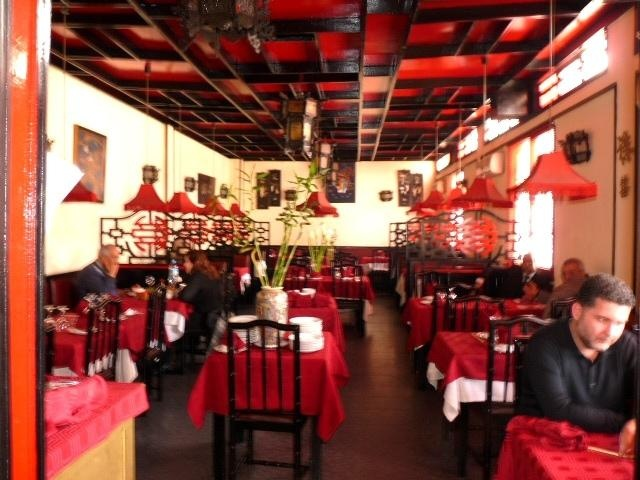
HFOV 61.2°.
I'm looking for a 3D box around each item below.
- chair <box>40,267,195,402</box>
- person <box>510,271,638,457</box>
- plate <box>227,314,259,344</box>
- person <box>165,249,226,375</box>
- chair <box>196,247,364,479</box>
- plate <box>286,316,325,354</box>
[{"bbox_3d":[-1.532,0.872,4.278,0.772,1.015,1.485,0,5,-5],"label":"chair"},{"bbox_3d":[1.175,0.518,2.438,0.505,0.723,0.400,2,6,19],"label":"person"},{"bbox_3d":[-0.455,0.539,3.305,0.213,0.213,0.205,0,-2,4],"label":"plate"},{"bbox_3d":[-1.237,0.614,5.353,0.583,1.025,0.456,8,9,-2],"label":"person"},{"bbox_3d":[-0.293,0.880,3.290,0.906,1.217,0.679,1,6,4],"label":"chair"},{"bbox_3d":[-0.089,0.573,3.251,0.216,0.111,0.308,0,4,0],"label":"plate"}]
